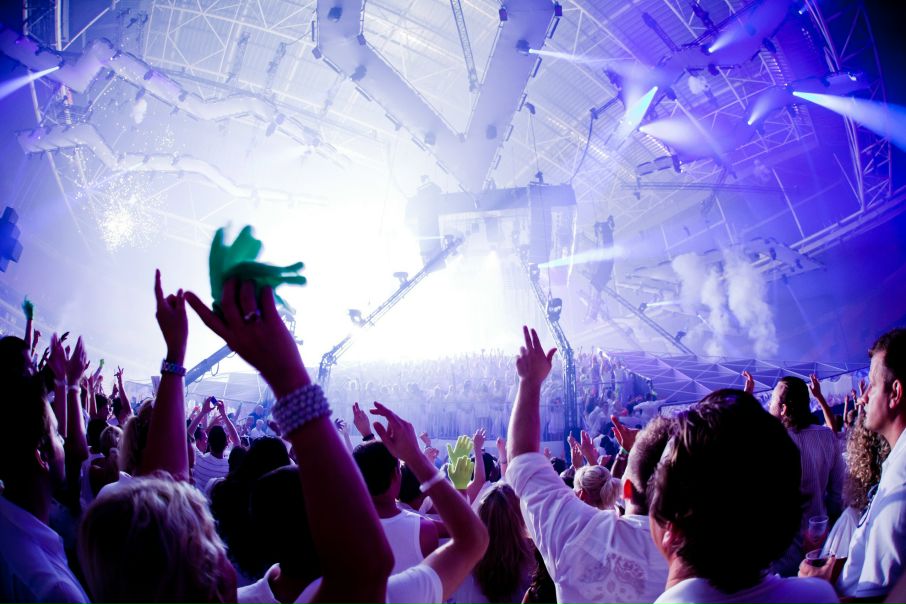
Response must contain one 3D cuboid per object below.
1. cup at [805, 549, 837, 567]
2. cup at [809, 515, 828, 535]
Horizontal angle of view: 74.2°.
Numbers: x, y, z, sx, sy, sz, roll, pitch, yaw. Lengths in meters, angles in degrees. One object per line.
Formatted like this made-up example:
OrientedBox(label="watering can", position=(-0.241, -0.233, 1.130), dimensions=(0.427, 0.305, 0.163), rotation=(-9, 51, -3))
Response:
OrientedBox(label="cup", position=(3.742, 2.653, 6.123), dimensions=(0.194, 0.175, 0.164), rotation=(-5, -8, 32))
OrientedBox(label="cup", position=(3.858, 2.406, 6.365), dimensions=(0.178, 0.206, 0.190), rotation=(1, 6, 0))
